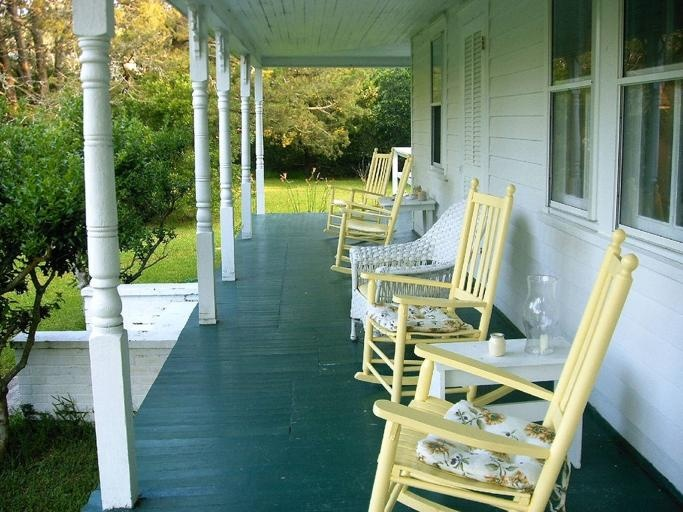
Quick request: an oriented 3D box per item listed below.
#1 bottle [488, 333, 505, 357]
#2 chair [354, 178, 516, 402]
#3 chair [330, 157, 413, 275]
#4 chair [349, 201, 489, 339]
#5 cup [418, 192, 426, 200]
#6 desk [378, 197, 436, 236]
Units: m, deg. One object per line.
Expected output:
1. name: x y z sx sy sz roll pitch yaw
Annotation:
1. bottle: 0.783 0.464 3.234 0.097 0.112 0.101 0 -1 -4
2. chair: 0.518 0.253 3.941 0.925 1.345 0.818 -6 11 -24
3. chair: 0.304 -0.458 6.957 0.936 1.311 0.934 16 19 37
4. chair: 0.523 0.031 4.791 0.920 1.302 0.902 2 6 -1
5. cup: 0.969 -0.724 7.592 0.089 0.089 0.090 -1 13 0
6. desk: 0.823 -0.487 8.067 0.647 0.525 1.044 1 13 3
